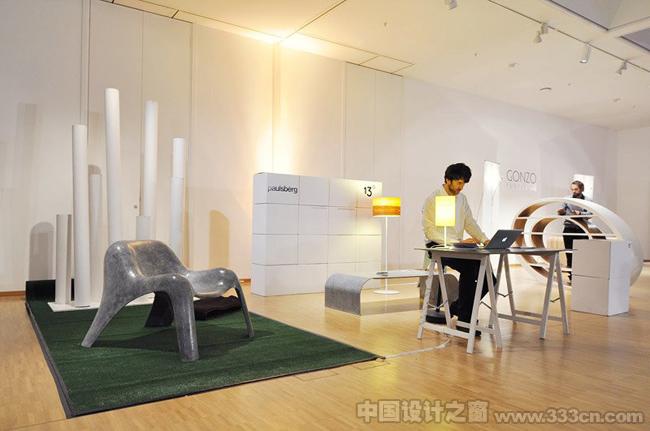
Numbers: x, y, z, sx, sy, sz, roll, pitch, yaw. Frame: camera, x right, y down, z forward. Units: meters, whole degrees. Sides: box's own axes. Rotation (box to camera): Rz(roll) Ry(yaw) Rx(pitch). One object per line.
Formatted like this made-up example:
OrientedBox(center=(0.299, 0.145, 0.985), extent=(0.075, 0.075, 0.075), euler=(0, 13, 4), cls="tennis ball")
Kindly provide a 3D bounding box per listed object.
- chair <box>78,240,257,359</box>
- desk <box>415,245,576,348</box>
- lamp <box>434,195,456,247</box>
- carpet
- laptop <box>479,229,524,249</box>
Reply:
OrientedBox(center=(-1.700, 0.709, 4.800), extent=(1.405, 1.111, 1.328), euler=(-3, -3, 26), cls="chair")
OrientedBox(center=(2.061, 0.958, 5.160), extent=(1.621, 1.026, 0.862), euler=(1, -6, -31), cls="desk")
OrientedBox(center=(1.475, 0.066, 5.376), extent=(0.237, 0.626, 0.403), euler=(2, 6, 13), cls="lamp")
OrientedBox(center=(-2.035, 1.603, 5.727), extent=(2.916, 0.067, 5.235), euler=(2, -6, -34), cls="carpet")
OrientedBox(center=(1.970, 0.273, 4.770), extent=(0.488, 0.246, 0.181), euler=(-3, 6, -32), cls="laptop")
